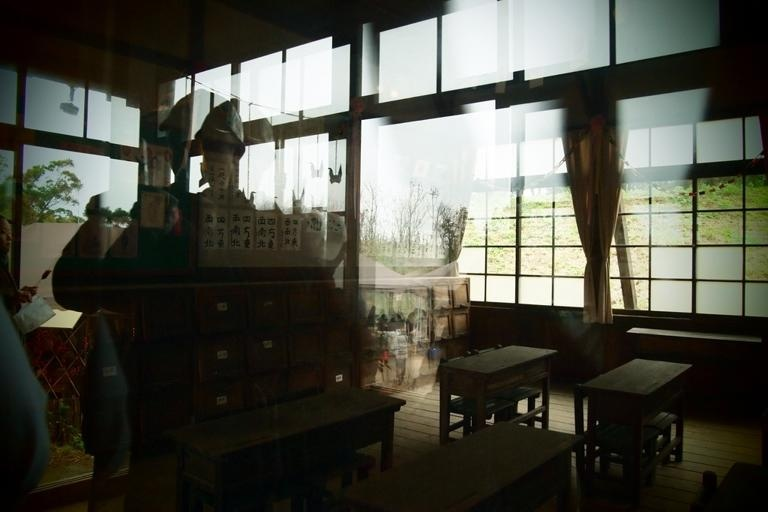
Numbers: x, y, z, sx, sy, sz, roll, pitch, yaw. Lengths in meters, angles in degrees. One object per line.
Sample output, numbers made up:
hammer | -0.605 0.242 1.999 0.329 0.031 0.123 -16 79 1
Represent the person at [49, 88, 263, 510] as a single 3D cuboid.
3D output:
person | -1.002 -0.248 2.545 0.224 0.890 0.955 15 13 31
